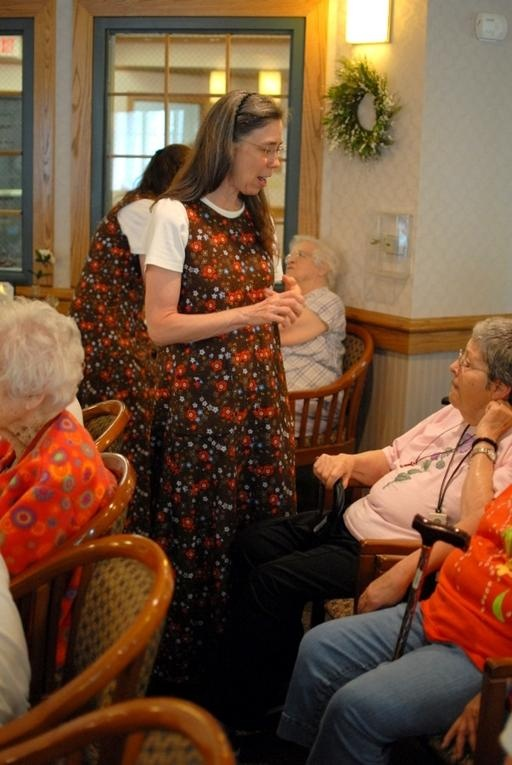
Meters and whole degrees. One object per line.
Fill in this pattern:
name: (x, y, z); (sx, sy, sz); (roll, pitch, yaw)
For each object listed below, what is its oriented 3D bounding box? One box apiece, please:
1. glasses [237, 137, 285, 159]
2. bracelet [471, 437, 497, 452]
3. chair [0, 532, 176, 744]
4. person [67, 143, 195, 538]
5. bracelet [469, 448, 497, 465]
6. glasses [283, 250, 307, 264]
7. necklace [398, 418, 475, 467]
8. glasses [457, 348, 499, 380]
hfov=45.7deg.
glasses: (0.008, -0.610, 1.579); (0.104, 0.033, 0.101); (30, 20, 21)
bracelet: (0.551, 0.142, 1.457); (0.040, 0.011, 0.041); (13, 9, 44)
chair: (-0.225, 0.315, 0.777); (0.209, 0.263, 0.211); (-5, 30, -26)
person: (-0.400, -0.160, 2.236); (0.450, 1.373, 0.385); (6, 10, 16)
bracelet: (0.535, 0.165, 1.443); (0.053, 0.031, 0.055); (-6, -25, 45)
glasses: (0.210, -0.640, 3.082); (0.082, 0.047, 0.059); (-22, 18, -41)
necklace: (0.504, 0.179, 1.677); (0.122, 0.056, 0.146); (37, 38, 24)
glasses: (0.561, -0.045, 1.561); (0.082, 0.084, 0.066); (4, 2, 19)
